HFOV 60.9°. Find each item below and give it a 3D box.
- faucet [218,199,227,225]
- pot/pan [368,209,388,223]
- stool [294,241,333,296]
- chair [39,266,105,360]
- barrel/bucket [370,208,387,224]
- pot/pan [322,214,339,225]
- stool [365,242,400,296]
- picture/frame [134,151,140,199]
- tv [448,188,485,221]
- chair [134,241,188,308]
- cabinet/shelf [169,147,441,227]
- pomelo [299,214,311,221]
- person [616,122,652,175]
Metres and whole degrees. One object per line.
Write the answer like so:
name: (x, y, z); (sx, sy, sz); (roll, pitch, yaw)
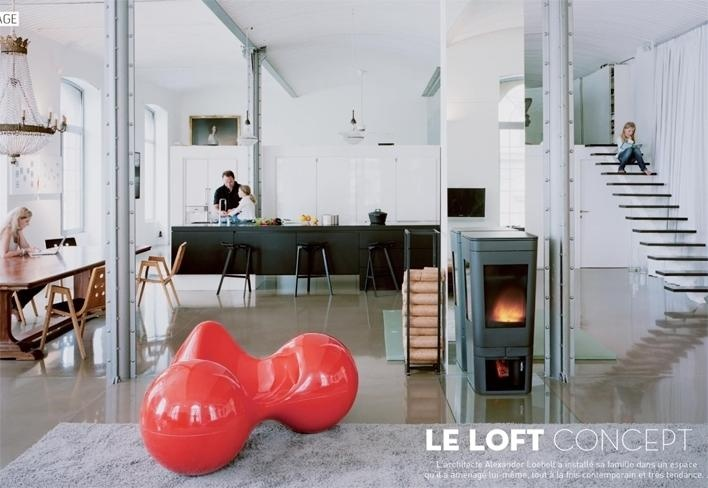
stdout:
faucet: (-2.270, -0.583, 10.433); (0.139, 0.406, 0.664); (-1, 4, -13)
pot/pan: (0.418, -0.479, 10.190); (0.233, 0.231, 0.308); (-1, -4, 0)
stool: (-0.630, 0.410, 9.757); (0.683, 0.852, 0.705); (0, -5, -30)
chair: (-3.187, 0.707, 6.967); (0.686, 0.989, 0.762); (3, 10, -10)
barrel/bucket: (0.415, -0.468, 10.192); (0.223, 0.225, 0.300); (-1, -5, 1)
pot/pan: (-0.407, -0.400, 10.122); (0.222, 0.169, 0.189); (1, 1, 8)
stool: (0.453, 0.373, 9.762); (0.580, 0.784, 0.291); (0, 4, 2)
picture/frame: (-5.021, -1.610, 13.977); (0.092, 1.086, 0.496); (-1, 4, -15)
tv: (1.185, -0.435, 6.288); (0.408, 0.306, 0.199); (0, 4, 3)
chair: (-2.838, 0.432, 8.703); (0.794, 1.020, 0.805); (5, 5, 9)
cabinet/shelf: (-0.885, -1.195, 11.904); (5.094, 1.547, 1.027); (0, 4, 1)
pomelo: (-0.841, -0.467, 10.566); (0.151, 0.111, 0.217); (-2, 0, -3)
person: (5.229, -1.782, 11.194); (0.546, 0.952, 0.477); (1, 4, 15)
